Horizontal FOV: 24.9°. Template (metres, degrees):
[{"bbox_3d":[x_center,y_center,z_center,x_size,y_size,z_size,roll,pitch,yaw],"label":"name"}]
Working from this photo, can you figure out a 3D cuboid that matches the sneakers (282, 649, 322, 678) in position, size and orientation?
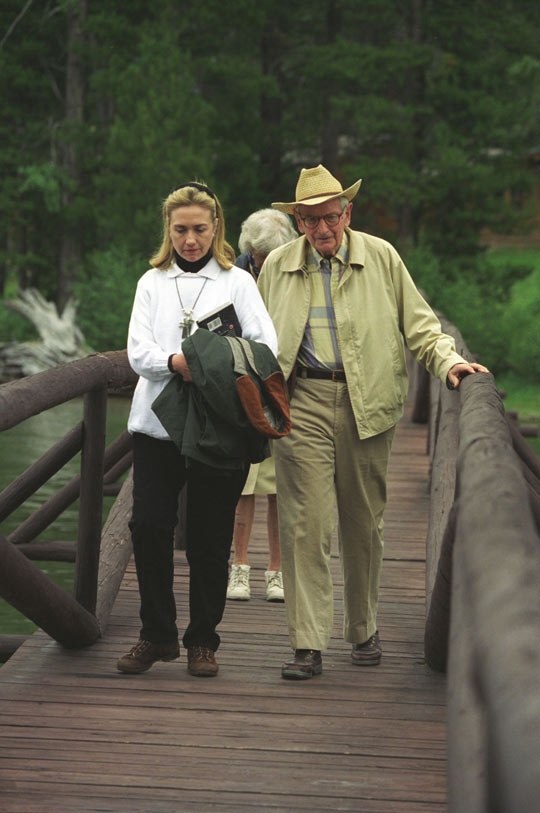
[{"bbox_3d":[0.098,0.775,3.624,0.059,0.098,0.145,-8,-12,39],"label":"sneakers"}]

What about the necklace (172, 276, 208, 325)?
[{"bbox_3d":[-0.228,-0.301,3.482,0.094,0.139,0.066,0,6,-4],"label":"necklace"}]

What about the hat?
[{"bbox_3d":[0.146,-0.652,3.706,0.206,0.084,0.212,-15,3,10],"label":"hat"}]

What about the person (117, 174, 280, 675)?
[{"bbox_3d":[-0.212,0.088,3.530,0.458,1.451,0.401,-1,7,-13],"label":"person"}]
